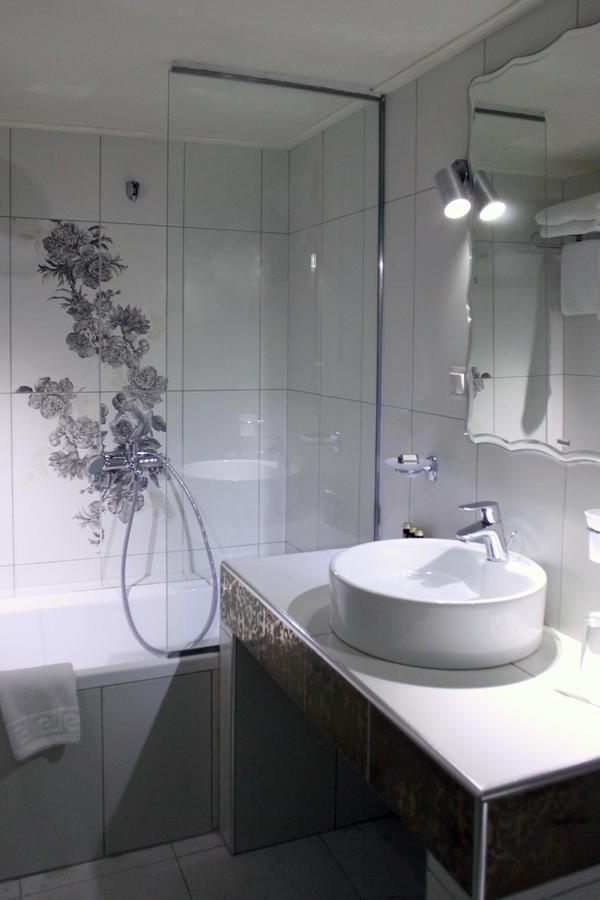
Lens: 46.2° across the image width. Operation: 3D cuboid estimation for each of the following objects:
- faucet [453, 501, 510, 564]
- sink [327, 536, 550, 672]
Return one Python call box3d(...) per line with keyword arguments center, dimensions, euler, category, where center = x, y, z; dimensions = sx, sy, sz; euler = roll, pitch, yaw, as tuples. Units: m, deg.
box3d(center=(0.397, 0.170, 1.494), dimensions=(0.132, 0.144, 0.049), euler=(-16, 16, -26), category="faucet")
box3d(center=(0.289, 0.297, 1.499), dimensions=(0.457, 0.198, 0.502), euler=(-3, 12, 30), category="sink")
